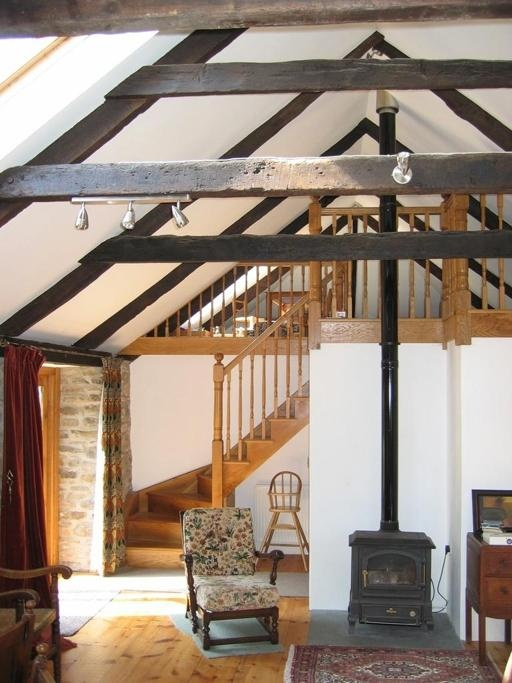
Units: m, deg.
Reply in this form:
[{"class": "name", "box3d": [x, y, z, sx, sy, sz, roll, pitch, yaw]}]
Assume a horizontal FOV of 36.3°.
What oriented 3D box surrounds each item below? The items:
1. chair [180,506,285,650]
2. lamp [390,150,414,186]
[{"class": "chair", "box3d": [-0.214, 1.773, 6.018, 0.717, 0.777, 1.031, 2, -2, -20]}, {"class": "lamp", "box3d": [0.775, -0.910, 4.112, 0.112, 0.174, 0.102, -1, -2, 2]}]
